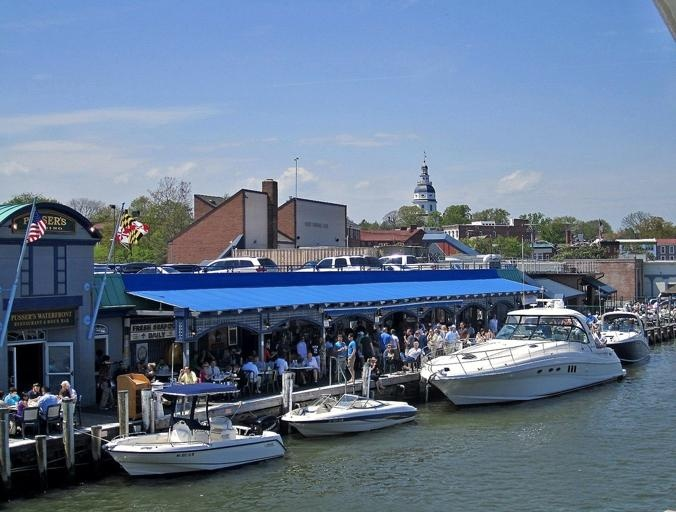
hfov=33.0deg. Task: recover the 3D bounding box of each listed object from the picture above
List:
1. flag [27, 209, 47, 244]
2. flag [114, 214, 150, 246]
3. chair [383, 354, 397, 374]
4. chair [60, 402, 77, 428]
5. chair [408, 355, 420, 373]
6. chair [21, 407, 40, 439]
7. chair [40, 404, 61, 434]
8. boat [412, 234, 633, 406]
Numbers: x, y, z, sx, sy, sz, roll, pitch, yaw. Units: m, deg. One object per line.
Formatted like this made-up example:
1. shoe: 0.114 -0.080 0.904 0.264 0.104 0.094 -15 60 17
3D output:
1. flag: -10.834 -1.092 40.691 0.669 1.212 1.013 -3 -7 -15
2. flag: -8.133 -1.035 44.400 1.109 1.209 1.559 -6 -7 12
3. chair: 2.226 4.589 48.636 0.704 0.992 0.621 1 0 16
4. chair: -9.211 5.355 38.841 0.509 0.982 1.580 -3 -7 -14
5. chair: 3.223 4.576 49.028 0.616 0.749 0.600 0 -8 -1
6. chair: -10.384 5.556 38.274 0.602 0.952 0.484 -3 -8 -18
7. chair: -9.785 5.542 38.708 0.536 0.994 0.707 -12 -10 43
8. boat: 7.567 4.432 48.984 9.563 3.493 3.321 -8 8 -43
